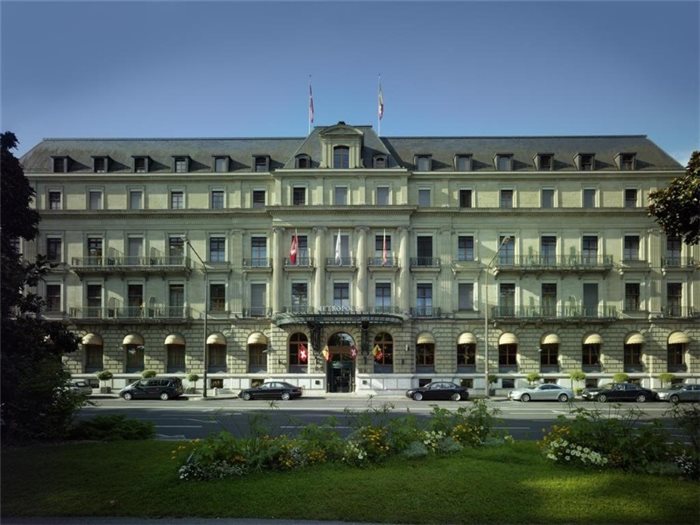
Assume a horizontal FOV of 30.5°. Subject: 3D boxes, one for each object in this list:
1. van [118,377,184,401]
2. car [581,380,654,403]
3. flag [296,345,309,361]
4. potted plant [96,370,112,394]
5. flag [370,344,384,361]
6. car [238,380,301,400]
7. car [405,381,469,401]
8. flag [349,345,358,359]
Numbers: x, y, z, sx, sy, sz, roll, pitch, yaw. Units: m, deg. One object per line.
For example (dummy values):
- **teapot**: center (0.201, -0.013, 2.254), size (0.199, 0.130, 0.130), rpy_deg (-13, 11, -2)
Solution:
- **van**: center (-15.899, 9.994, 102.543), size (3.978, 1.223, 2.012), rpy_deg (2, -8, -3)
- **car**: center (21.047, 10.020, 100.545), size (5.057, 1.213, 1.912), rpy_deg (1, -7, 1)
- **flag**: center (-4.017, 7.550, 107.784), size (0.791, 1.840, 1.421), rpy_deg (2, -3, -7)
- **potted plant**: center (-20.548, 9.890, 107.089), size (2.114, 2.170, 1.642), rpy_deg (0, -9, -9)
- **flag**: center (2.152, 7.493, 107.565), size (0.205, 0.832, 1.367), rpy_deg (22, -28, 48)
- **car**: center (-6.387, 10.144, 102.577), size (4.671, 1.061, 1.767), rpy_deg (2, -9, -2)
- **car**: center (6.831, 10.066, 101.484), size (4.476, 1.023, 1.732), rpy_deg (2, -9, -1)
- **flag**: center (0.233, 7.474, 107.638), size (0.409, 1.164, 0.644), rpy_deg (-9, 14, -39)
